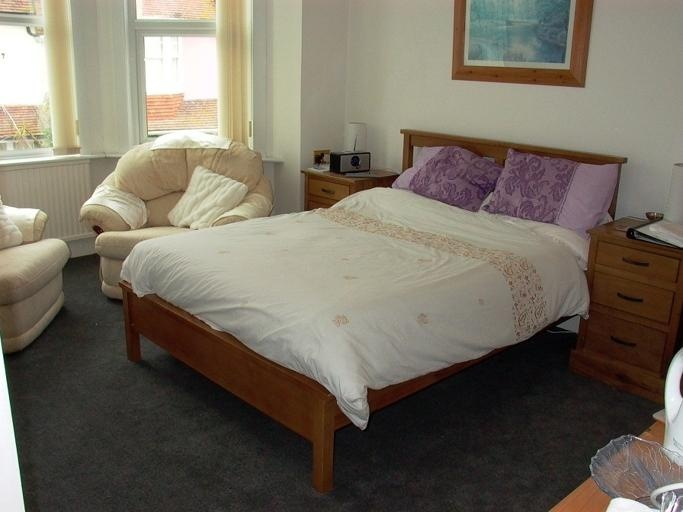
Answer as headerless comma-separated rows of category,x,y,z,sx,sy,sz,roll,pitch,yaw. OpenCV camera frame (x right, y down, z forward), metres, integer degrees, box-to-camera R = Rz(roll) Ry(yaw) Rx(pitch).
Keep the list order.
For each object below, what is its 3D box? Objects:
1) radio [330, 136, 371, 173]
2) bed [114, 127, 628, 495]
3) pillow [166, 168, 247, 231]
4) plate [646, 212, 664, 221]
radio,0.085,-0.952,4.490,0.397,0.234,0.206,-6,16,-29
bed,0.366,0.389,3.423,2.945,1.520,2.249,-16,25,-38
pillow,-1.085,-0.474,4.037,0.522,0.520,0.162,13,-17,34
plate,1.993,-0.257,3.166,0.080,0.033,0.079,-10,16,-35
